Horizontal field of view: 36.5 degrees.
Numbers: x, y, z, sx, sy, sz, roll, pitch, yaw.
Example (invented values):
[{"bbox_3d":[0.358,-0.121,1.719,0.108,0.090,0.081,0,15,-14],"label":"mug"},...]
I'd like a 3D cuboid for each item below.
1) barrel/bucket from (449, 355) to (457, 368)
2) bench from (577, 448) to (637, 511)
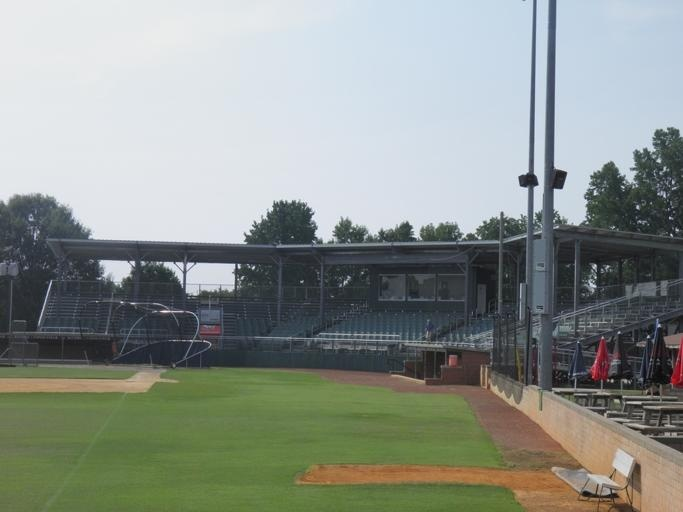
[{"bbox_3d":[5.457,5.161,51.290,0.413,0.895,0.448,-1,1,0],"label":"barrel/bucket"},{"bbox_3d":[7.239,5.960,27.953,1.459,1.515,1.466,-4,-9,32],"label":"bench"}]
